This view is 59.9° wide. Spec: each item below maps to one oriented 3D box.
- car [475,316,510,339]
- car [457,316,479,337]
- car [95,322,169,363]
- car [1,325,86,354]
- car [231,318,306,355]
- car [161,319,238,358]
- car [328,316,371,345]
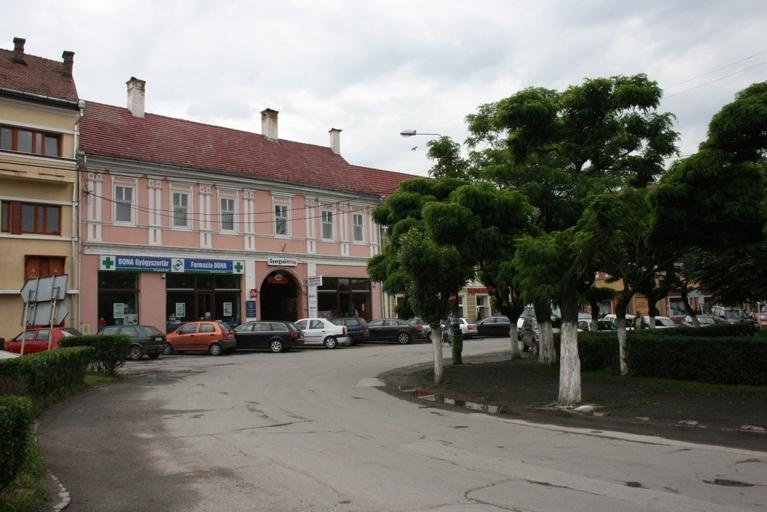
[{"bbox_3d":[7.405,4.763,44.954,3.127,1.007,1.318,2,-6,-8],"label":"car"},{"bbox_3d":[5.614,4.662,44.150,1.205,0.934,2.907,-1,-8,-1],"label":"car"},{"bbox_3d":[-11.598,4.003,31.309,2.344,1.682,1.138,-1,-9,-15],"label":"car"},{"bbox_3d":[-14.157,3.347,27.421,2.471,1.196,7.993,3,-11,-31],"label":"car"},{"bbox_3d":[-5.927,4.169,34.373,3.560,1.115,1.526,1,-5,7],"label":"car"},{"bbox_3d":[-9.029,4.063,33.400,2.896,1.270,1.758,1,-4,16],"label":"car"},{"bbox_3d":[-1.886,4.203,38.359,2.140,1.014,1.161,1,-3,1],"label":"car"}]
